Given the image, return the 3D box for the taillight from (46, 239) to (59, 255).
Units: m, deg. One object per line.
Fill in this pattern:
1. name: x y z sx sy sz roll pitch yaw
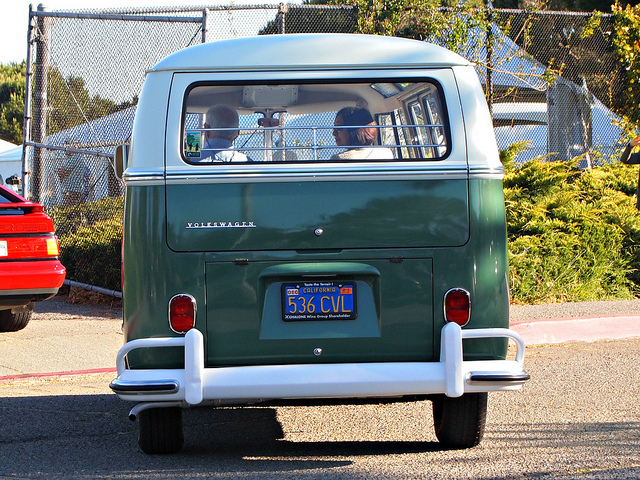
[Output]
1. taillight: -3.297 0.092 10.932 0.060 0.204 0.177 2 9 18

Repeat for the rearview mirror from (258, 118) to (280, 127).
1. rearview mirror: -0.459 -1.037 7.939 0.173 0.087 0.053 0 6 -10

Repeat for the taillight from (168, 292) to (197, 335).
1. taillight: -1.143 0.614 7.285 0.312 0.476 0.060 0 4 0

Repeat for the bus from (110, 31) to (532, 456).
1. bus: 0.143 -0.380 10.261 3.471 3.987 6.455 -2 7 0

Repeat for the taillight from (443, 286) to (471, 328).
1. taillight: 1.145 0.549 7.375 0.218 0.338 0.323 1 7 0

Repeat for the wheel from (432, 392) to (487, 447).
1. wheel: 1.226 1.552 7.728 0.231 0.604 0.575 -2 1 -8
